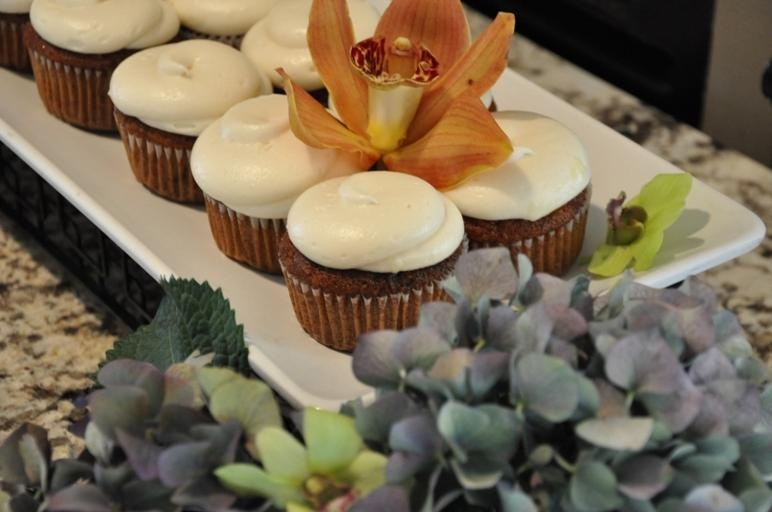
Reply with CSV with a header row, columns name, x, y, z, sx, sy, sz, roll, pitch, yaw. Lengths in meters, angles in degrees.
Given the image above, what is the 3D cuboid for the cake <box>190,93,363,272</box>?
name,x,y,z,sx,sy,sz,roll,pitch,yaw
cake,-0.157,-0.094,1.146,0.196,0.179,0.217,-25,37,-37

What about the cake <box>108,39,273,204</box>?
name,x,y,z,sx,sy,sz,roll,pitch,yaw
cake,-0.302,-0.208,1.268,0.240,0.188,0.233,26,32,24

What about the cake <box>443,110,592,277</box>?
name,x,y,z,sx,sy,sz,roll,pitch,yaw
cake,0.179,-0.094,1.152,0.197,0.184,0.207,-9,43,-2

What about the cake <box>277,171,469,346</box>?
name,x,y,z,sx,sy,sz,roll,pitch,yaw
cake,-0.041,0.011,1.054,0.191,0.153,0.189,0,30,-6
